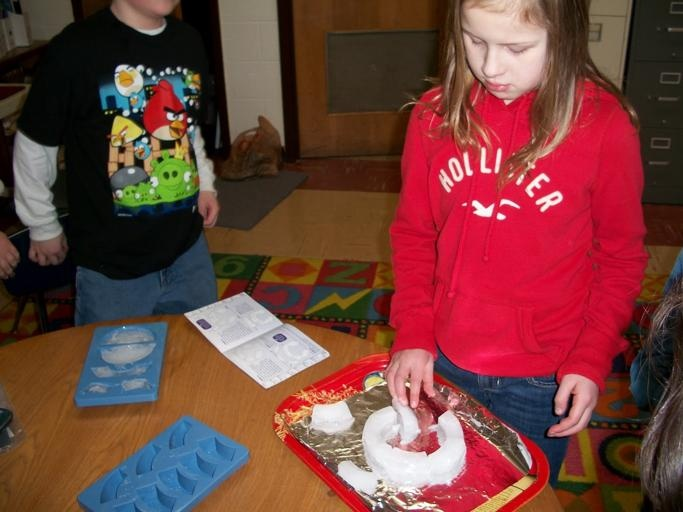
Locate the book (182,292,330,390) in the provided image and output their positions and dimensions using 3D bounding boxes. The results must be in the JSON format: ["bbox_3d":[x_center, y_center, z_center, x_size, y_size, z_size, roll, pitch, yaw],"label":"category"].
[{"bbox_3d":[-0.216,0.220,1.427,0.180,0.026,0.327,-19,40,-35],"label":"book"}]

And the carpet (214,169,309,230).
[{"bbox_3d":[-0.686,-0.446,4.090,0.591,0.079,1.025,8,29,20],"label":"carpet"}]
